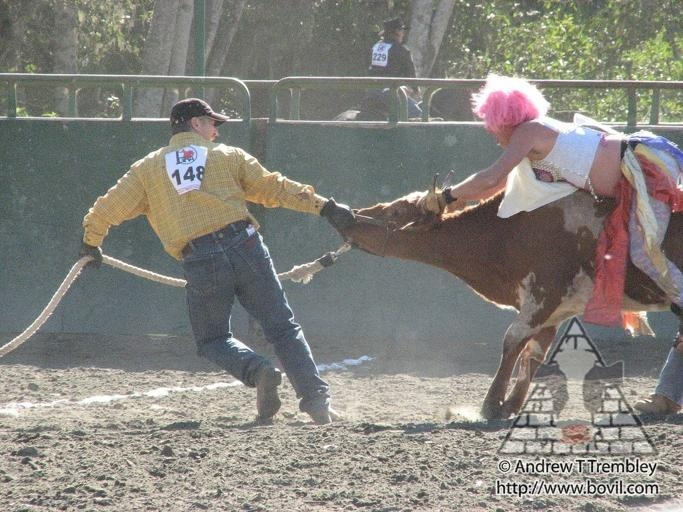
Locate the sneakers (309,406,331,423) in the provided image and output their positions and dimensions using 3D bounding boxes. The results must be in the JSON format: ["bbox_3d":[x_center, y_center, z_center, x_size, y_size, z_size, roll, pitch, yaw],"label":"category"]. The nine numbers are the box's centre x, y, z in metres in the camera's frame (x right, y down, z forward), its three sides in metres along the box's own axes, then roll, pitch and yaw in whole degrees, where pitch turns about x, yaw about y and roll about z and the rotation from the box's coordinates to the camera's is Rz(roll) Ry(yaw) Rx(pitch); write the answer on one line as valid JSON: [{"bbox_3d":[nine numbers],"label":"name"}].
[{"bbox_3d":[-0.177,1.308,9.810,0.152,0.149,0.149,-2,-5,22],"label":"sneakers"}]

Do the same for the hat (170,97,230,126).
[{"bbox_3d":[-1.233,-1.223,9.997,0.402,0.147,0.243,-3,7,-18],"label":"hat"}]

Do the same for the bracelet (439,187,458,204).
[{"bbox_3d":[0.853,-0.489,9.545,0.122,0.114,0.126,1,1,1],"label":"bracelet"}]
